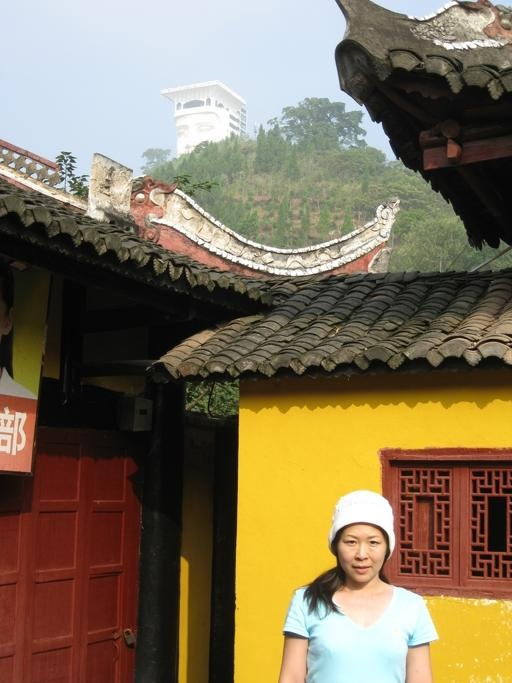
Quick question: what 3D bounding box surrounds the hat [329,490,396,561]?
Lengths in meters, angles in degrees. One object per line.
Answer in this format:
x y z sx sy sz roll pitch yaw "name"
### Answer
0.365 0.625 2.954 0.203 0.218 0.225 3 -21 5 "hat"
